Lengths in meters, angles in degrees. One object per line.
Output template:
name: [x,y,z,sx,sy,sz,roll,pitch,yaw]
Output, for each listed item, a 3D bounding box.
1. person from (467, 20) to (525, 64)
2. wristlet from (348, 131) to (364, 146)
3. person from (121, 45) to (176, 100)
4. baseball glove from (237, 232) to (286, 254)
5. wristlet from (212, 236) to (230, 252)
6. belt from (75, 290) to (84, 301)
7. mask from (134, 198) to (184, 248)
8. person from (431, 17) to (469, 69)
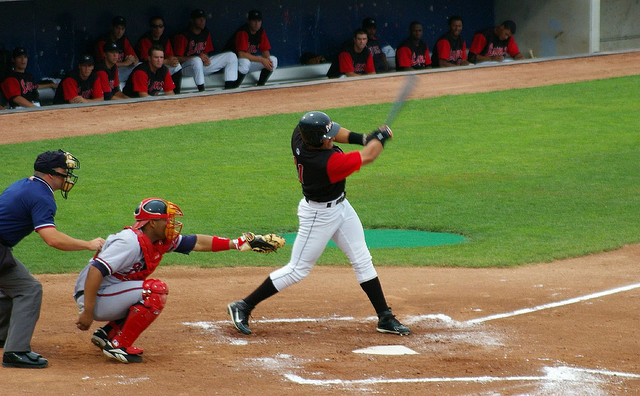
person: [3.906,-3.394,21.099,1.189,0.940,0.765,2,6,0]
wristlet: [0.464,-0.751,12.274,0.204,0.158,0.216,2,6,1]
person: [-3.322,-2.386,18.890,1.322,1.082,1.002,10,14,27]
baseball glove: [-0.749,0.540,12.370,0.538,0.302,0.230,19,34,-15]
wristlet: [-1.275,0.601,12.288,0.198,0.142,0.201,-8,-17,-3]
belt: [-2.980,1.215,11.846,0.118,0.040,0.089,-40,-12,27]
mask: [-2.006,0.264,11.917,0.631,0.475,0.445,5,6,2]
person: [2.911,-3.369,20.954,0.783,1.085,0.386,1,7,-15]
